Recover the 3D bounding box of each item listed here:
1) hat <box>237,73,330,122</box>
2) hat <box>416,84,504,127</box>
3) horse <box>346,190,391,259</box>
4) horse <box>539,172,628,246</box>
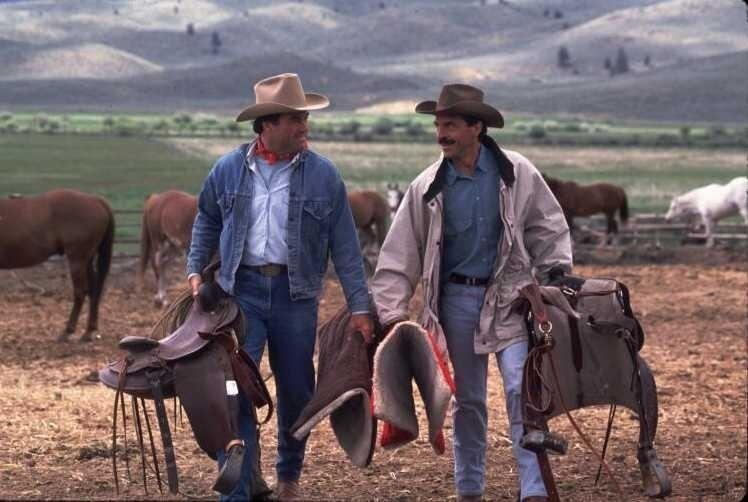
[{"bbox_3d":[-1.123,-1.762,16.817,1.193,0.441,0.916,-7,-2,-44],"label":"hat"},{"bbox_3d":[1.107,-1.668,16.780,0.724,0.261,0.587,17,-9,-33],"label":"hat"},{"bbox_3d":[-0.197,-0.618,26.126,0.513,1.200,2.002,-13,-3,2],"label":"horse"},{"bbox_3d":[3.711,-0.757,25.926,1.729,1.158,0.437,-1,1,-13],"label":"horse"}]
